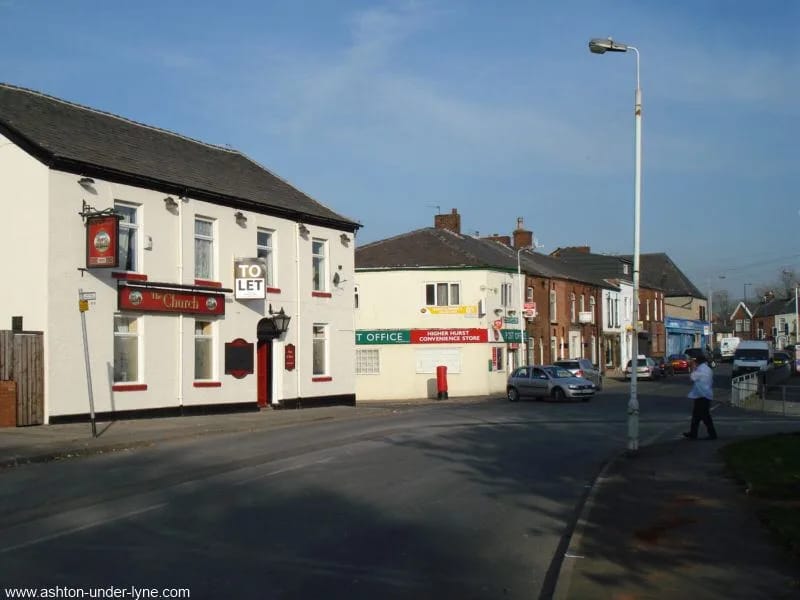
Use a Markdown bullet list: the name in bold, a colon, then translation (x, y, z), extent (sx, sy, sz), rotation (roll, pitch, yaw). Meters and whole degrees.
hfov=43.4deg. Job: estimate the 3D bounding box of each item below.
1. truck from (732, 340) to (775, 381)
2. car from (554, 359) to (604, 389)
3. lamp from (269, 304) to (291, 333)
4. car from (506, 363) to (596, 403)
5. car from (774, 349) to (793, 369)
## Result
- **truck**: translation (19.889, 3.347, 56.479), extent (1.923, 2.454, 5.730), rotation (-2, -7, 24)
- **car**: translation (8.639, 3.549, 48.583), extent (1.227, 1.023, 2.787), rotation (-1, 0, 28)
- **lamp**: translation (-4.091, 0.611, 34.490), extent (0.538, 1.011, 0.789), rotation (1, 1, 23)
- **car**: translation (6.242, 3.386, 40.910), extent (1.548, 1.168, 3.089), rotation (2, -8, -40)
- **car**: translation (30.439, 4.664, 79.862), extent (1.794, 1.423, 4.090), rotation (0, 2, 16)
